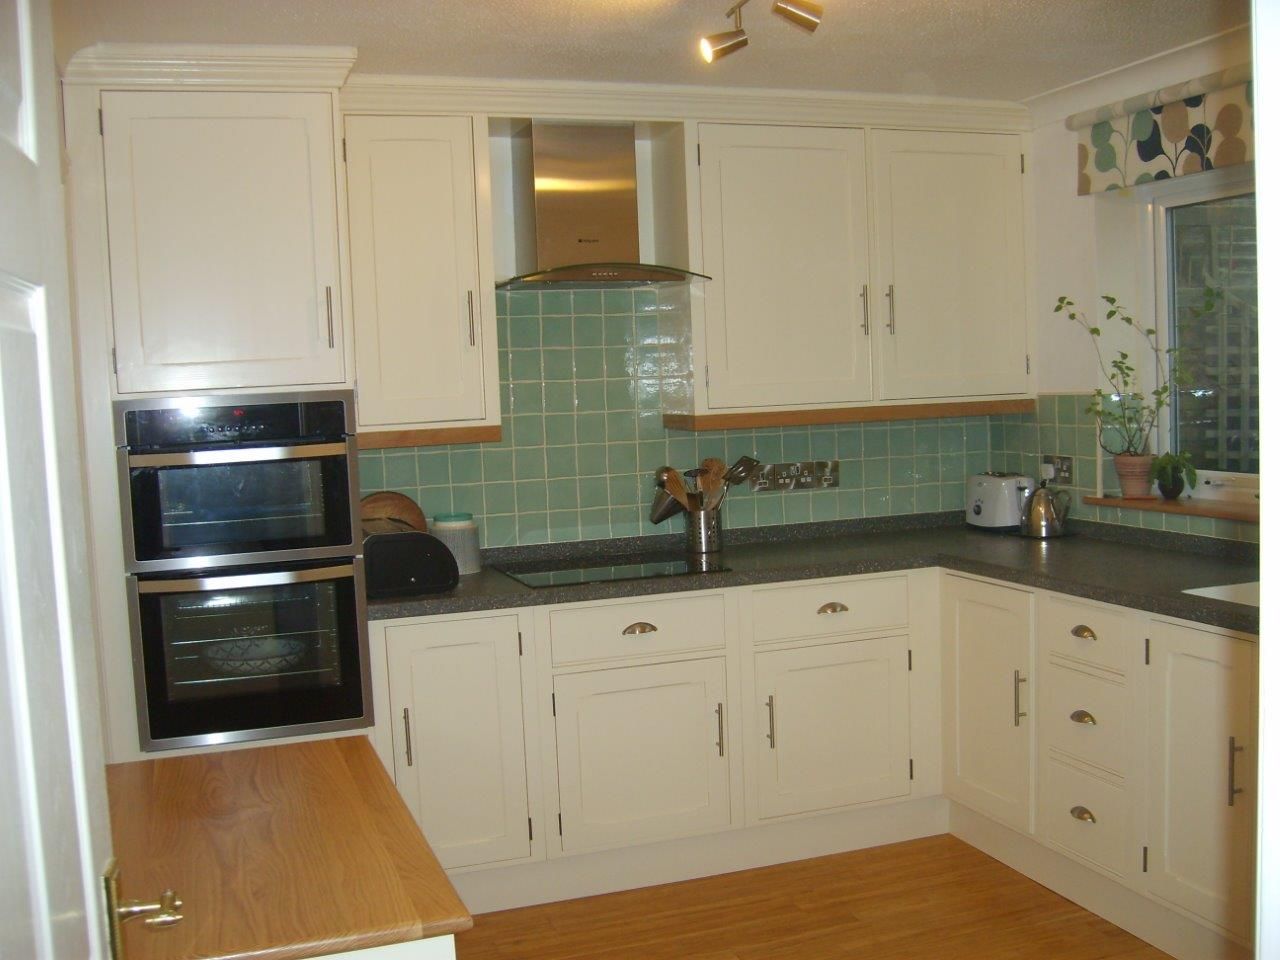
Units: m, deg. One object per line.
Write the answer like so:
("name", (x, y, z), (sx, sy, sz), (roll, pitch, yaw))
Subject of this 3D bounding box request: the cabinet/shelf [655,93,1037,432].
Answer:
("cabinet/shelf", (0.794, -0.822, 4.214), (1.616, 1.171, 0.551), (-6, 6, -26))

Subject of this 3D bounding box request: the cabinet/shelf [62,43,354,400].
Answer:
("cabinet/shelf", (-1.348, -0.734, 3.368), (0.904, 1.104, 0.549), (-5, -3, -19))

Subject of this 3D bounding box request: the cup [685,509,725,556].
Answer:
("cup", (0.250, 0.198, 4.017), (0.161, 0.171, 0.154), (1, 4, 0))

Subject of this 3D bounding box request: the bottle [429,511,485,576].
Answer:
("bottle", (-0.649, 0.216, 3.718), (0.198, 0.216, 0.196), (-3, 8, -21))

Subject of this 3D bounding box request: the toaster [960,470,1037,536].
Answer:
("toaster", (1.453, 0.082, 4.253), (0.202, 0.256, 0.350), (0, 5, -18))

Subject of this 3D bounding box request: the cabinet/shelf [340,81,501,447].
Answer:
("cabinet/shelf", (-0.738, -0.706, 3.509), (0.482, 1.048, 0.134), (-4, 8, -6))

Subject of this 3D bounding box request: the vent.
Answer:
("vent", (-0.178, -1.054, 3.812), (0.675, 0.513, 0.582), (2, 28, 3))

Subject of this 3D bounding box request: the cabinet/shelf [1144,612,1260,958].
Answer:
("cabinet/shelf", (1.534, 0.818, 2.801), (0.115, 0.865, 0.412), (-5, 8, -12))

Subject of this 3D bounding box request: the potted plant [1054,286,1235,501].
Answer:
("potted plant", (1.856, -0.336, 3.932), (0.288, 0.760, 0.538), (-5, 8, -11))

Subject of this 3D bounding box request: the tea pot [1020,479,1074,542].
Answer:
("tea pot", (1.588, 0.107, 4.074), (0.185, 0.204, 0.253), (2, 9, 33))

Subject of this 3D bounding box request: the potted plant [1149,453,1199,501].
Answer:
("potted plant", (1.944, -0.019, 3.758), (0.158, 0.180, 0.163), (3, 4, 36))
